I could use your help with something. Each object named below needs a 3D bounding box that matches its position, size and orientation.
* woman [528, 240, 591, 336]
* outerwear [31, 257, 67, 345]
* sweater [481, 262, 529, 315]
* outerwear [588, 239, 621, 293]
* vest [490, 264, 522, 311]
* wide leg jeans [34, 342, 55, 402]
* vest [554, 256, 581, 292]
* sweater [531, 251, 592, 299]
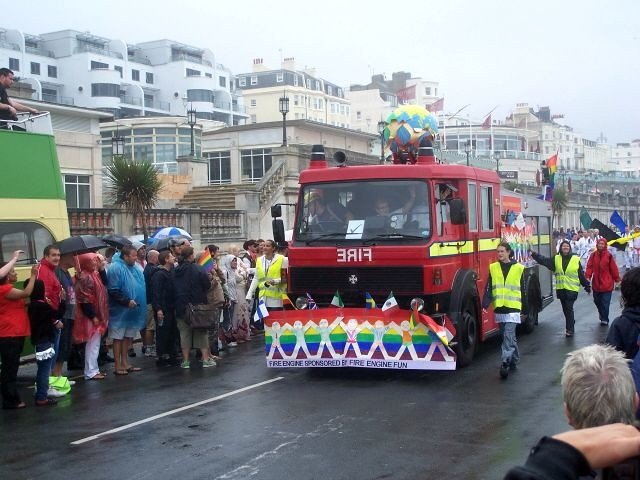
[{"bbox_3d":[5.723,1.167,16.536,1.387,2.206,0.812,-2,-2,15],"label":"woman"},{"bbox_3d":[-4.370,1.230,11.138,0.524,1.855,0.716,2,7,-8],"label":"outerwear"},{"bbox_3d":[3.215,0.818,12.137,0.915,1.405,0.706,-1,-5,25],"label":"sweater"},{"bbox_3d":[7.006,0.955,17.486,0.820,1.955,0.515,-1,10,23],"label":"outerwear"},{"bbox_3d":[3.165,0.813,11.931,0.592,0.971,0.456,-1,-10,14],"label":"vest"},{"bbox_3d":[-4.320,2.041,10.850,0.300,0.927,0.307,-2,1,-25],"label":"wide leg jeans"},{"bbox_3d":[5.792,0.788,16.404,0.526,0.880,0.497,-4,-21,23],"label":"vest"},{"bbox_3d":[5.867,0.872,17.126,1.348,1.026,0.530,5,-13,0],"label":"sweater"}]
